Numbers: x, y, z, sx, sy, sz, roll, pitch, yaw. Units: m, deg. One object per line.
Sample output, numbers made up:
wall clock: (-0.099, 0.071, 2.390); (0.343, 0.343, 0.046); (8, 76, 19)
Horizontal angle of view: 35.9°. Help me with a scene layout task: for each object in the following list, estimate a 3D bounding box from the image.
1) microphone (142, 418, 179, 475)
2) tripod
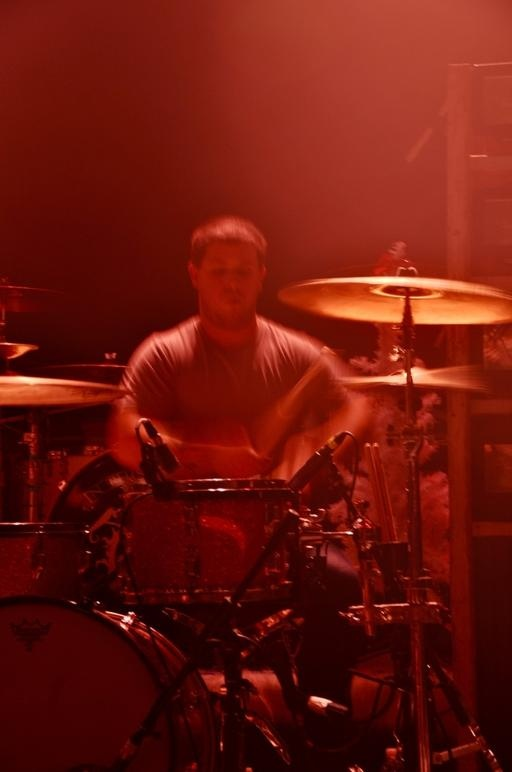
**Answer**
microphone: (-0.242, 0.154, 1.937); (0.092, 0.144, 0.130); (-1, -3, -9)
tripod: (0.513, 0.432, 2.264); (0.262, 1.383, 0.449); (-2, -3, 15)
